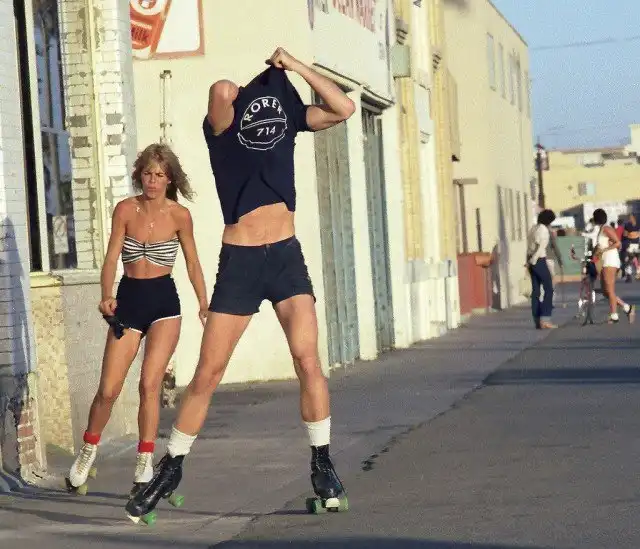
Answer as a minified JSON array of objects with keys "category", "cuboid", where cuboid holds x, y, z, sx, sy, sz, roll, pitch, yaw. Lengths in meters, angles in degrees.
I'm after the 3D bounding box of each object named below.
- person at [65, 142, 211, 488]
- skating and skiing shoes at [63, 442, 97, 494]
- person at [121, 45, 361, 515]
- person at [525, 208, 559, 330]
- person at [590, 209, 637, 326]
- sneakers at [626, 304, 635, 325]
[{"category":"person","cuboid":[-1.159,0.282,7.372,0.821,2.344,0.698,4,4,-23]},{"category":"skating and skiing shoes","cuboid":[-1.615,1.317,7.484,0.162,0.309,0.400,-1,-1,3]},{"category":"person","cuboid":[-0.488,0.033,6.430,1.230,2.743,0.795,1,5,2]},{"category":"person","cuboid":[3.822,-0.142,18.594,0.432,2.031,0.715,-3,3,29]},{"category":"person","cuboid":[5.107,-0.080,19.312,0.796,2.079,0.759,8,11,38]},{"category":"sneakers","cuboid":[5.332,0.672,18.876,0.110,0.317,0.098,3,-6,-9]}]
